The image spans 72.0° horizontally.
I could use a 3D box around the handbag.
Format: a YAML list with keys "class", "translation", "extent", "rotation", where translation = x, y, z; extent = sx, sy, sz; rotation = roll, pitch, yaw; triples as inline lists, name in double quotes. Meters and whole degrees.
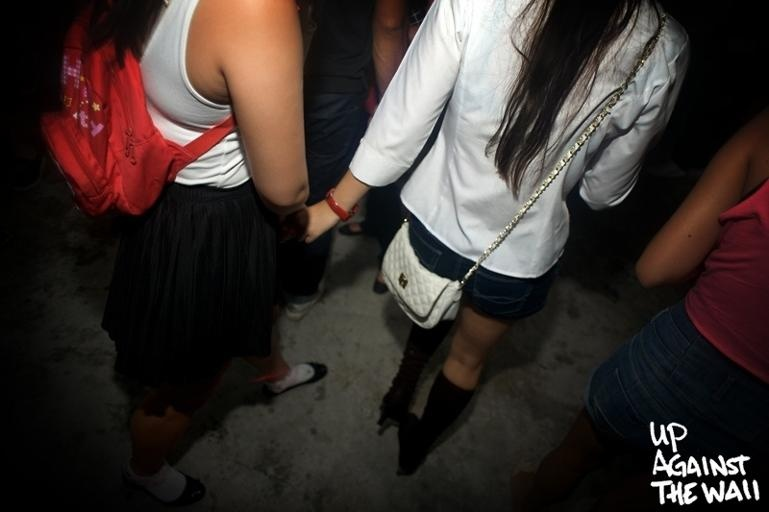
- class: "handbag"
  translation: [0.144, 0.094, 2.274]
  extent: [0.179, 0.306, 0.434]
  rotation: [-17, 48, -33]

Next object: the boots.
- class: "boots"
  translation: [0.145, 0.784, 2.655]
  extent: [0.292, 0.971, 0.386]
  rotation: [30, 40, 19]

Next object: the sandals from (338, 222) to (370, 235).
- class: "sandals"
  translation: [-0.204, -0.175, 3.552]
  extent: [0.210, 0.087, 0.084]
  rotation: [-1, 45, -6]

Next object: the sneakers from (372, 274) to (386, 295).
- class: "sneakers"
  translation: [-0.033, 0.186, 3.269]
  extent: [0.050, 0.053, 0.153]
  rotation: [1, 38, 1]

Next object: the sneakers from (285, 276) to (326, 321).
- class: "sneakers"
  translation: [-0.465, 0.231, 3.139]
  extent: [0.107, 0.143, 0.348]
  rotation: [4, 28, 12]

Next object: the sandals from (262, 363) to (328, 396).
- class: "sandals"
  translation: [-0.474, 0.616, 2.761]
  extent: [0.327, 0.083, 0.143]
  rotation: [-23, 63, -28]
